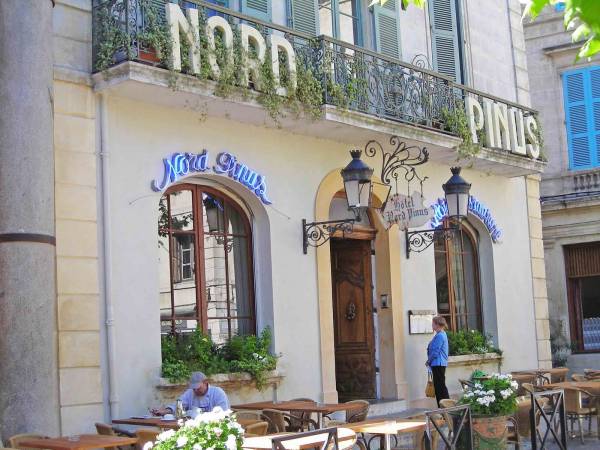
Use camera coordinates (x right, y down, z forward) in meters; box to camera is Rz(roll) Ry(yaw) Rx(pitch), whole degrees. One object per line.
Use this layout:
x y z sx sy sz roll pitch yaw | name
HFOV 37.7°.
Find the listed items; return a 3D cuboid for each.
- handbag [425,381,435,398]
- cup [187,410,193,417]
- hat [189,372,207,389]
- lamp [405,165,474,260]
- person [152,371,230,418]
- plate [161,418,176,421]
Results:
2.257 2.881 15.562 0.167 0.278 0.259 1 -10 1 | handbag
-1.438 2.429 11.401 0.036 0.097 0.156 3 -13 -32 | cup
-1.356 2.016 11.559 0.221 0.223 0.211 -4 -11 -1 | hat
2.524 -0.190 16.444 1.200 1.427 3.769 -5 -12 9 | lamp
-1.352 2.307 11.575 0.627 0.544 0.921 -4 -13 25 | person
-1.714 2.514 11.447 0.175 0.049 0.160 -2 -12 -11 | plate
